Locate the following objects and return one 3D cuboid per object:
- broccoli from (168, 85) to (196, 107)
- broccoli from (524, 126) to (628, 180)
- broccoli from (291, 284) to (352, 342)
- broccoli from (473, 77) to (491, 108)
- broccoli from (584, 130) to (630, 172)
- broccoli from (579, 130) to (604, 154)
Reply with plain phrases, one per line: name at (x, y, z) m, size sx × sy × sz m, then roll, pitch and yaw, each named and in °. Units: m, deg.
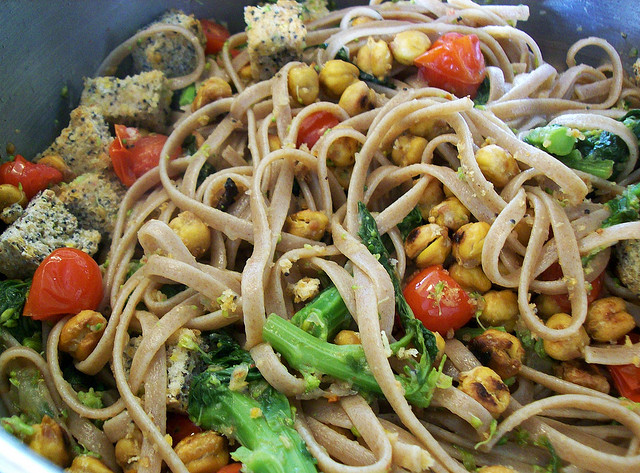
broccoli at (-1.371, -1.382, 5.926) m, size 0.207 × 0.073 × 0.220 m, roll -22°, pitch 37°, yaw 31°
broccoli at (1.977, -0.782, 4.965) m, size 0.452 × 0.308 × 0.104 m, roll 7°, pitch 62°, yaw 13°
broccoli at (0.010, 0.557, 4.807) m, size 0.354 × 0.246 × 0.577 m, roll 15°, pitch 27°, yaw 5°
broccoli at (1.509, -1.305, 5.514) m, size 0.130 × 0.095 × 0.271 m, roll 17°, pitch 69°, yaw 21°
broccoli at (2.457, -0.700, 5.108) m, size 0.268 × 0.093 × 0.373 m, roll 10°, pitch 101°, yaw -9°
broccoli at (2.289, -0.801, 5.070) m, size 0.172 × 0.055 × 0.191 m, roll 14°, pitch 75°, yaw 48°
